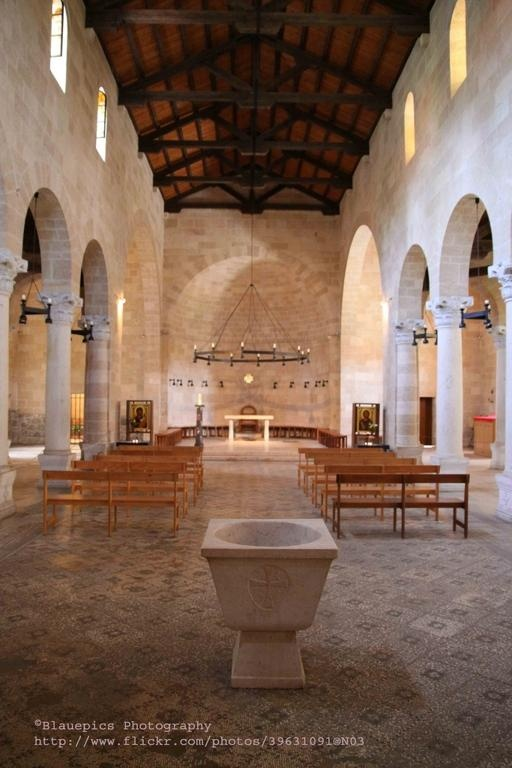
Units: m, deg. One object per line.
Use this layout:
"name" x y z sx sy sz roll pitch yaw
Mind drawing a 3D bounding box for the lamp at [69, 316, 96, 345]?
"lamp" -3.605 -1.150 11.902 0.333 0.484 0.918 1 -3 -11
